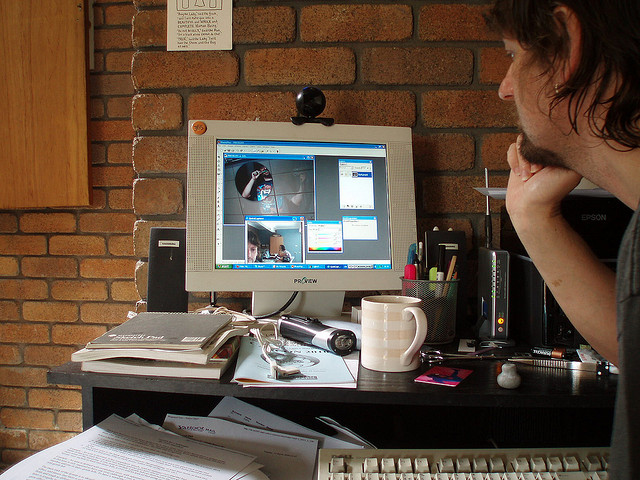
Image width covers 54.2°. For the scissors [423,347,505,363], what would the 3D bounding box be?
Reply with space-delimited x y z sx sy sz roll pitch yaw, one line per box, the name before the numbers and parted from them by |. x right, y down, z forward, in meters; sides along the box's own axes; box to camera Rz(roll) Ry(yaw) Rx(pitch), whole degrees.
scissors | 0.335 0.276 1.497 0.139 0.017 0.067 0 -1 6

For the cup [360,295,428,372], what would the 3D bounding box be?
cup | 0.176 0.222 1.438 0.138 0.150 0.212 2 -1 -17

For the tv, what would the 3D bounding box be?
tv | -0.053 -0.065 1.676 0.572 0.453 0.177 0 -13 -5
